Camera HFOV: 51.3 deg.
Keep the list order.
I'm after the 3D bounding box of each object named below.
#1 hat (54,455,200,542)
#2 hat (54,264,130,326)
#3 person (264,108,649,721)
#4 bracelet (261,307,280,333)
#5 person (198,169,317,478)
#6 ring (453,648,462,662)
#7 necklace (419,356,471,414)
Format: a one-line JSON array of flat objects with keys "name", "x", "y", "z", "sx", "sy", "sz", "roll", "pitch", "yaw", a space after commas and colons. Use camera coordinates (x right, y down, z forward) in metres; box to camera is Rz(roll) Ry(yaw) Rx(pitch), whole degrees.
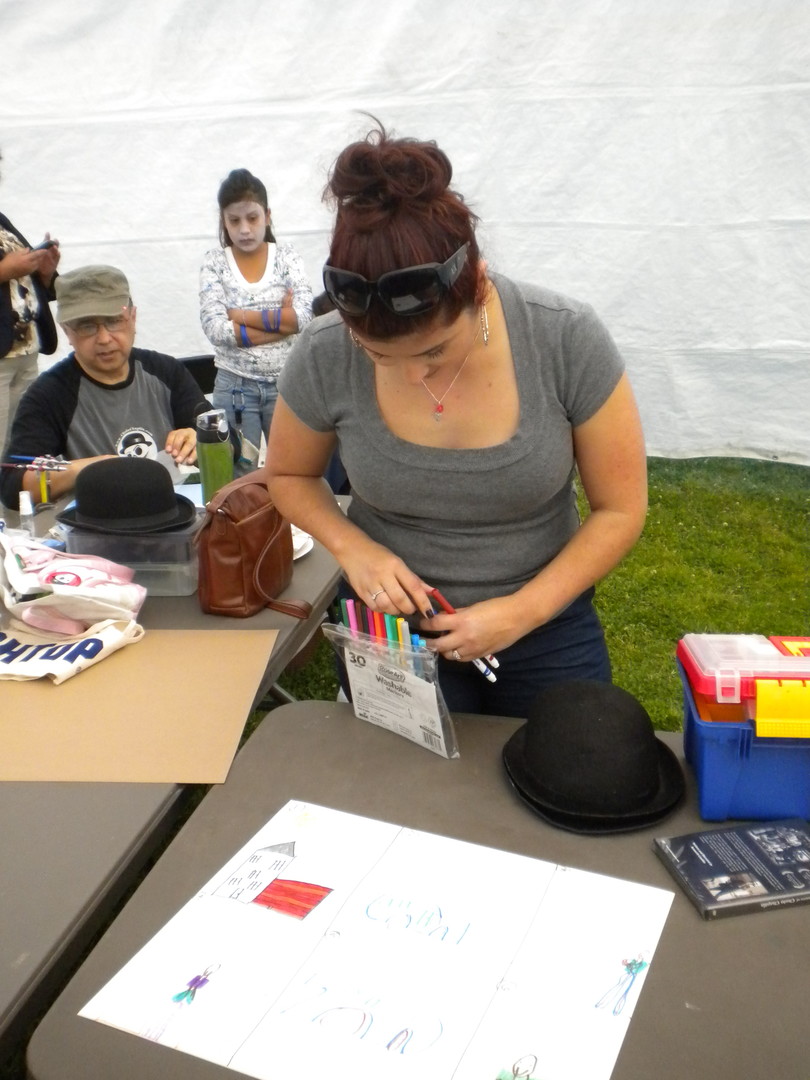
[{"name": "hat", "x": -0.526, "y": -0.127, "z": 1.790, "sx": 0.342, "sy": 0.141, "sz": 0.303, "roll": -1, "pitch": 23, "yaw": -8}, {"name": "hat", "x": -0.923, "y": -0.733, "z": 2.503, "sx": 0.246, "sy": 0.181, "sz": 0.169, "roll": -10, "pitch": 33, "yaw": -21}, {"name": "person", "x": 0.079, "y": -0.143, "z": 1.392, "sx": 0.525, "sy": 0.970, "sz": 0.516, "roll": 4, "pitch": 26, "yaw": 1}, {"name": "bracelet", "x": -0.592, "y": -0.986, "z": 3.763, "sx": 0.083, "sy": 0.100, "sz": 0.078, "roll": 3, "pitch": 12, "yaw": 5}, {"name": "person", "x": -0.775, "y": -0.797, "z": 3.931, "sx": 0.620, "sy": 1.637, "sz": 0.496, "roll": -6, "pitch": 33, "yaw": -21}, {"name": "ring", "x": 0.078, "y": 0.170, "z": 1.250, "sx": 0.006, "sy": 0.012, "sz": 0.015, "roll": -17, "pitch": 50, "yaw": 4}, {"name": "necklace", "x": 0.062, "y": -0.229, "z": 1.289, "sx": 0.053, "sy": 0.098, "sz": 0.014, "roll": 6, "pitch": 2, "yaw": 16}]
